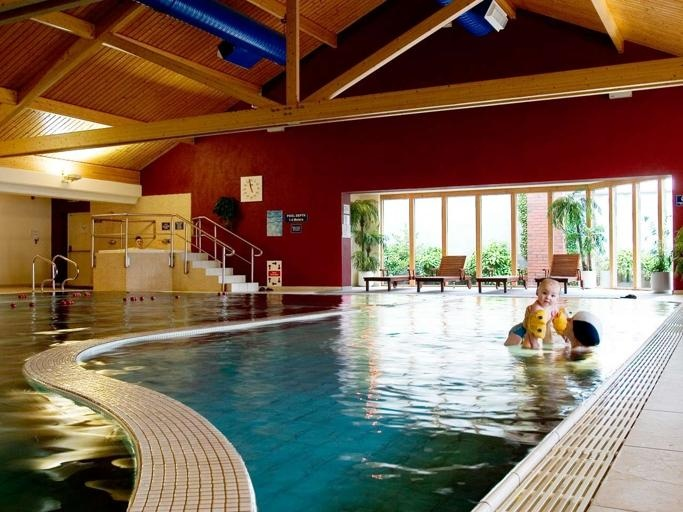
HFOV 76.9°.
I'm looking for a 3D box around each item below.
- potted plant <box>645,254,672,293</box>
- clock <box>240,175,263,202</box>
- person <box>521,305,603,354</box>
[{"bbox_3d":[9.187,0.478,12.426,0.761,1.156,0.461,1,-2,-43],"label":"potted plant"},{"bbox_3d":[-3.145,-2.387,15.288,1.184,0.995,0.163,-2,-2,12],"label":"clock"},{"bbox_3d":[2.303,0.831,4.660,0.815,0.353,0.508,-4,-4,26],"label":"person"}]
